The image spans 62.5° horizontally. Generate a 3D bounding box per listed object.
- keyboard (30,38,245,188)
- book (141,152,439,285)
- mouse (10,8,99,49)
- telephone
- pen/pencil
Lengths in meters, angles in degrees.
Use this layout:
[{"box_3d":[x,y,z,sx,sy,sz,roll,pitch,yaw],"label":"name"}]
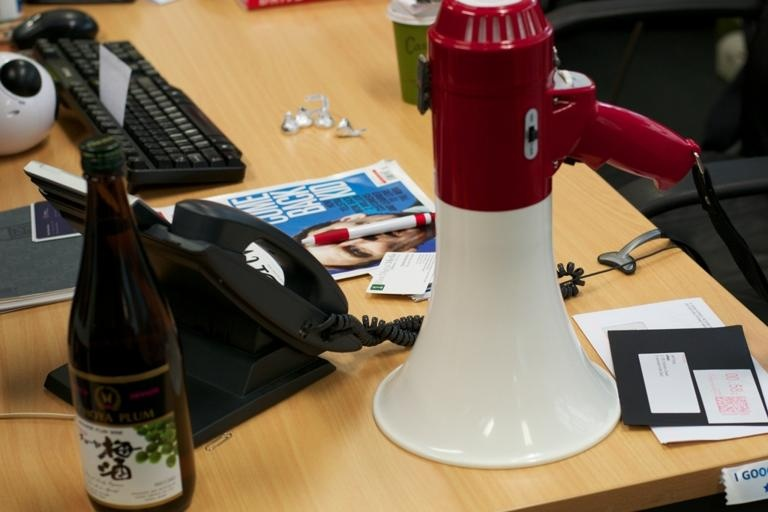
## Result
[{"box_3d":[-0.463,-0.264,1.175,0.167,0.066,0.476,-22,47,-19],"label":"keyboard"},{"box_3d":[-0.066,-0.076,1.047,0.242,0.029,0.270,-23,41,-34],"label":"book"},{"box_3d":[-0.789,-0.547,1.515,0.182,0.067,0.106,-16,41,-30],"label":"mouse"},{"box_3d":[-0.234,0.023,0.760,0.360,0.309,0.309,7,23,8],"label":"telephone"},{"box_3d":[-0.023,-0.042,0.998,0.187,0.020,0.020,-11,53,-7],"label":"pen/pencil"}]
